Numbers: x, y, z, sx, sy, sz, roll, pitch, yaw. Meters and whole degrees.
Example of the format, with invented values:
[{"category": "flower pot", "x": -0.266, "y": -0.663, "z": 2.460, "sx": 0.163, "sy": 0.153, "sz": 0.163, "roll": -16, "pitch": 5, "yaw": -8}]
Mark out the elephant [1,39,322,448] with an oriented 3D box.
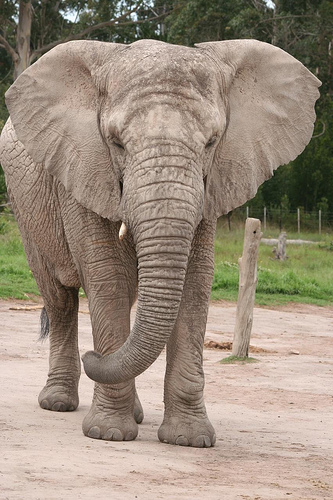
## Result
[{"category": "elephant", "x": -0.390, "y": -0.066, "z": 5.514, "sx": 1.791, "sy": 2.524, "sz": 3.046, "roll": 2, "pitch": -5, "yaw": -16}]
